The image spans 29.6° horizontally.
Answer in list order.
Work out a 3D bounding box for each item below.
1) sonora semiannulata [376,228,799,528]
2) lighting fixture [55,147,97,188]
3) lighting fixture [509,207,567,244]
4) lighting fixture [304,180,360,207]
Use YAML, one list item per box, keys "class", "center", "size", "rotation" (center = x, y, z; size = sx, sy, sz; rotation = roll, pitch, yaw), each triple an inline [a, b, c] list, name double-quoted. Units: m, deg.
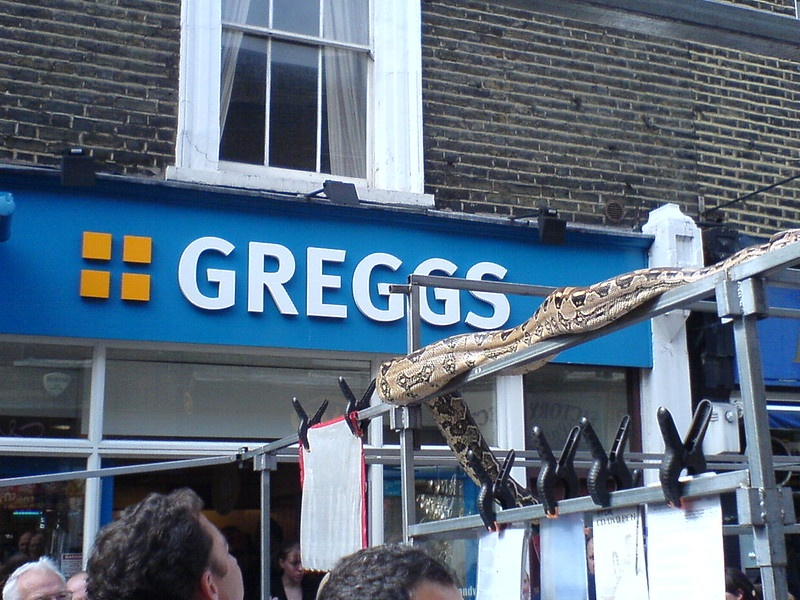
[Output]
- class: "sonora semiannulata"
  center: [1.067, 0.256, 9.124]
  size: [2.272, 0.364, 1.684]
  rotation: [-30, 1, -2]
- class: "lighting fixture"
  center: [-2.568, -1.056, 12.050]
  size: [0.245, 0.305, 0.156]
  rotation: [-7, -10, 16]
- class: "lighting fixture"
  center: [1.179, -0.659, 13.289]
  size: [0.272, 0.326, 0.498]
  rotation: [2, 6, -41]
- class: "lighting fixture"
  center: [-0.512, -0.886, 12.674]
  size: [0.229, 0.159, 0.342]
  rotation: [7, -8, -37]
